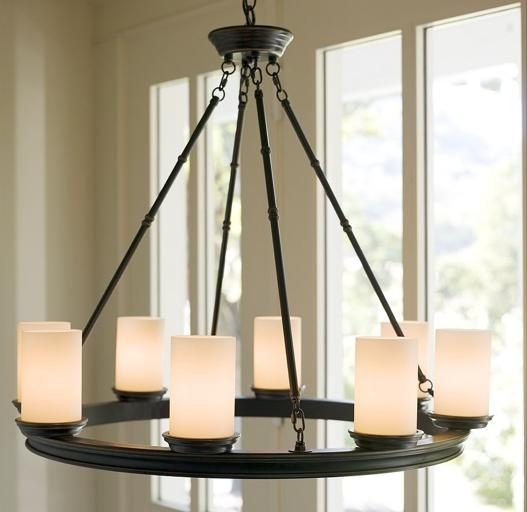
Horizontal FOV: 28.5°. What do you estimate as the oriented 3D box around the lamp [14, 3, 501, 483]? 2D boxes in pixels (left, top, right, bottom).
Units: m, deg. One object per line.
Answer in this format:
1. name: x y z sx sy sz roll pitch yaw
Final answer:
1. lamp: -0.018 -0.019 2.421 0.948 1.273 1.035 0 -7 6
